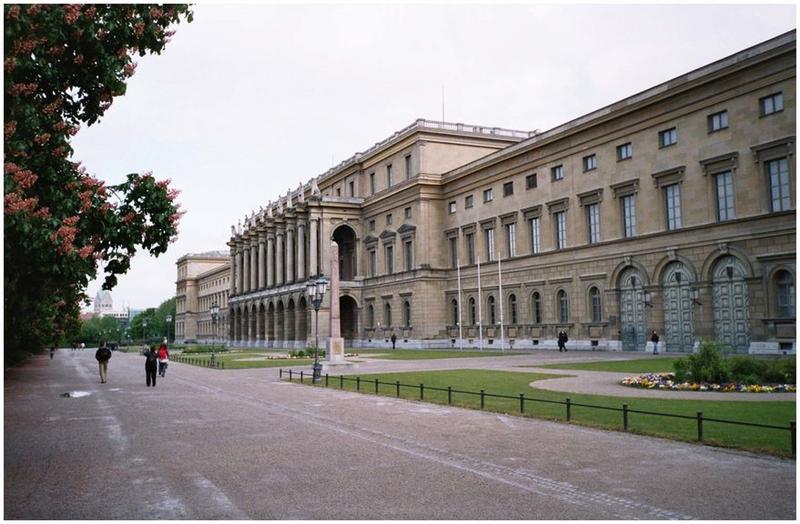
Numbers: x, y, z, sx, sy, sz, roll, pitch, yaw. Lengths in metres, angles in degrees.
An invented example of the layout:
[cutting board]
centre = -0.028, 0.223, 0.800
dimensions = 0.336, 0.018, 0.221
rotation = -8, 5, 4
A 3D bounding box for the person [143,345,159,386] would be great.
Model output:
[person]
centre = -11.915, 4.972, 32.018
dimensions = 0.587, 1.876, 1.349
rotation = 5, -10, -20
